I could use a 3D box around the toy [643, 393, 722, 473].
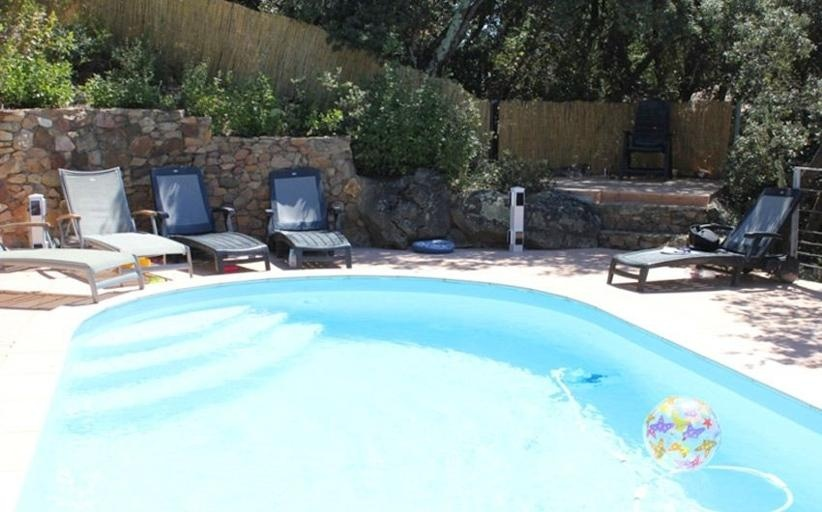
[{"bbox_3d":[2.922,1.868,6.913,0.704,0.859,0.716,9,7,3],"label":"toy"}]

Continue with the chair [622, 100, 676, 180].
[{"bbox_3d":[6.606,-3.275,17.375,1.298,2.124,1.783,7,13,26],"label":"chair"}]

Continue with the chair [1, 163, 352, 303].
[{"bbox_3d":[-4.813,-0.538,10.922,2.939,1.825,3.634,13,16,43],"label":"chair"}]

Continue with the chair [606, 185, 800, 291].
[{"bbox_3d":[4.980,-0.346,10.930,3.199,1.724,1.612,-3,7,-17],"label":"chair"}]
